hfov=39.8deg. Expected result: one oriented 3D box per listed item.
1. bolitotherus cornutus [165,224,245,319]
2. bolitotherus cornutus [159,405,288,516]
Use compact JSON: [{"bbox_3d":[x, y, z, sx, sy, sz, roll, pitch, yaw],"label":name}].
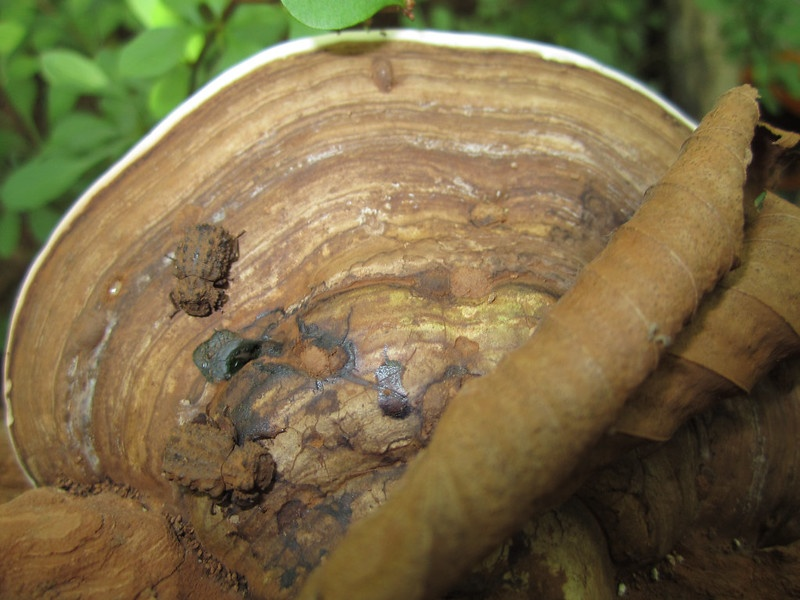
[{"bbox_3d":[-0.830,-0.131,4.616,0.253,0.113,0.404,9,96,-1],"label":"bolitotherus cornutus"},{"bbox_3d":[-0.738,0.665,4.522,0.413,0.140,0.325,21,83,-2],"label":"bolitotherus cornutus"}]
